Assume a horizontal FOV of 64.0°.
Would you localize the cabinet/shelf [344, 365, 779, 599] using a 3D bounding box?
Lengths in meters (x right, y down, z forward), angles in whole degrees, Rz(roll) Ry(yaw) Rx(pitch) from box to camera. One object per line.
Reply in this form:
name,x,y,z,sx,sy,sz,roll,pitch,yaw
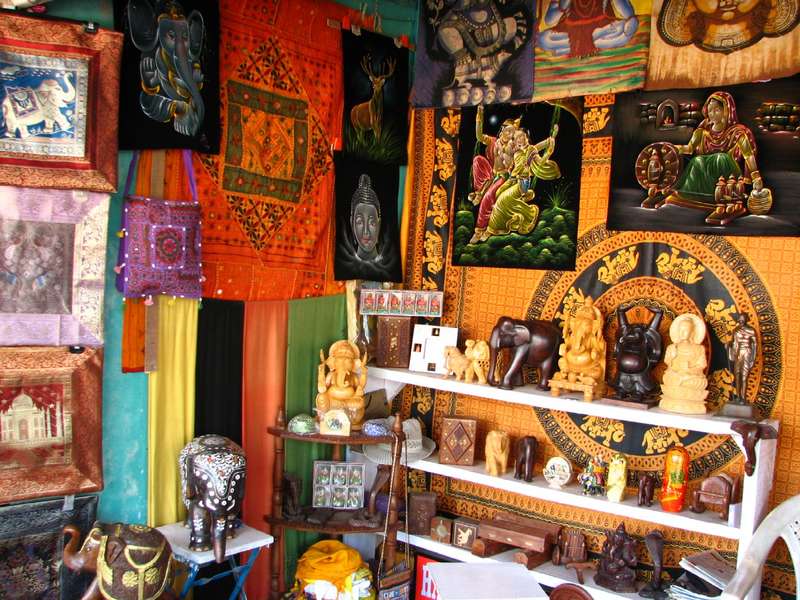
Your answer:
cabinet/shelf,1.095,1.174,4.096,1.559,0.836,0.211,12,13,34
